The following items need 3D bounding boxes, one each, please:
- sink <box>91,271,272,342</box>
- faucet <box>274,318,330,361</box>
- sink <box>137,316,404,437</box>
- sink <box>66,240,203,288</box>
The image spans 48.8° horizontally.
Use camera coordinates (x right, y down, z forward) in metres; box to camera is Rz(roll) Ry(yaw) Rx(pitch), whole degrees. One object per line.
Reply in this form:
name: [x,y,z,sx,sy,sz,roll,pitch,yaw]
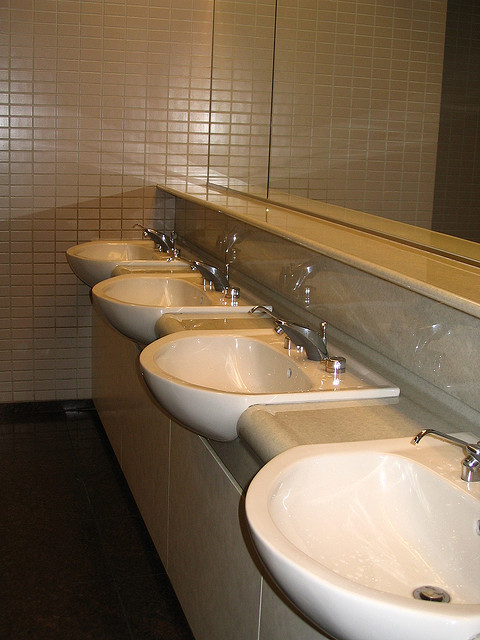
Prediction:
sink: [-0.272,-0.079,1.746,0.345,0.133,0.385,-3,18,-16]
faucet: [0.132,0.046,1.128,0.131,0.075,0.093,8,-10,16]
sink: [0.030,0.098,1.096,0.293,0.202,0.358,-3,18,-16]
sink: [-0.577,-0.295,2.559,0.446,0.151,0.384,-2,24,-19]
